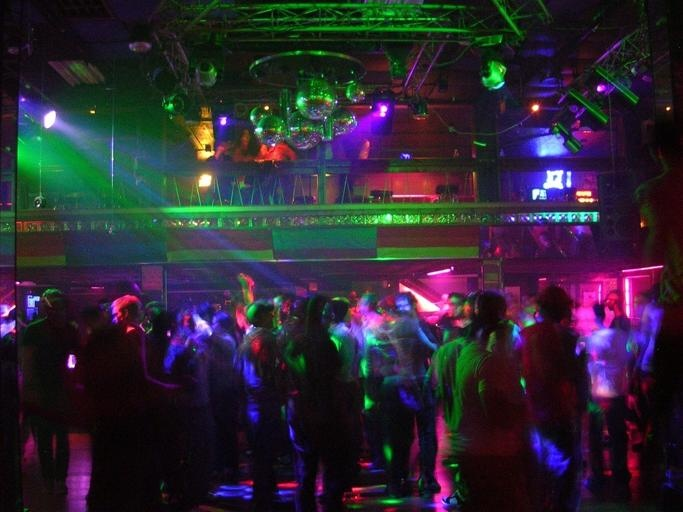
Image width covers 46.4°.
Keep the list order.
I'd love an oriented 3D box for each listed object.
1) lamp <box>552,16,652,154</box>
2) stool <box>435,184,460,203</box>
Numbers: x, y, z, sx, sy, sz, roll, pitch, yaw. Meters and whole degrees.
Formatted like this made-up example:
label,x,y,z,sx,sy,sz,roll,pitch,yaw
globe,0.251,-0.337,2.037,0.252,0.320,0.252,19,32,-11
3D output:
label,x,y,z,sx,sy,sz,roll,pitch,yaw
lamp,4.562,-2.936,14.113,1.307,1.577,2.833,-2,-8,8
stool,2.130,-1.291,16.252,0.383,0.411,0.628,-4,-9,22
